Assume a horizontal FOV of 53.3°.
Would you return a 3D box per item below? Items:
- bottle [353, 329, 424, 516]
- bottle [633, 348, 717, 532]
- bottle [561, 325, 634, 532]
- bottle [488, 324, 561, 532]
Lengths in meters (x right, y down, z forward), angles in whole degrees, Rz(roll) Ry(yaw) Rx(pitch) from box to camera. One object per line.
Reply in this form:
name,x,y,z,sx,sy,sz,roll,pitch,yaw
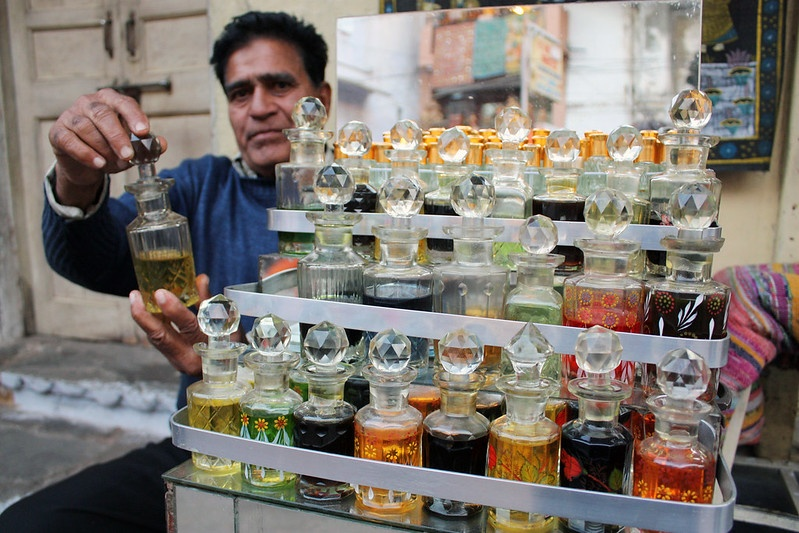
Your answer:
bottle,-0.019,0.254,1.342,0.127,0.305,0.089,-6,10,-22
bottle,0.455,0.256,1.286,0.146,0.244,0.076,-6,9,-19
bottle,0.332,0.264,1.333,0.114,0.341,0.163,1,9,19
bottle,0.220,0.263,1.328,0.095,0.346,0.159,6,12,44
